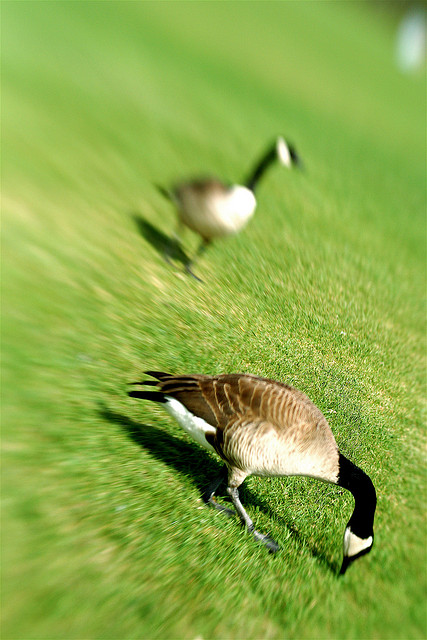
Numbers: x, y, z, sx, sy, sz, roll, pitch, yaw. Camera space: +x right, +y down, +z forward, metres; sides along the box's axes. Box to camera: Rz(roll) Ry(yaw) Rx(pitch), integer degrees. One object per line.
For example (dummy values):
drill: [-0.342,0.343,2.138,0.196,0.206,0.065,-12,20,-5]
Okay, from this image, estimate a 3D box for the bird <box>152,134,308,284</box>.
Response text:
bird: [0.027,-0.986,4.781,1.395,0.474,1.257,24,107,35]

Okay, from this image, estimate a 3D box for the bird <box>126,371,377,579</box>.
bird: [0.182,0.813,3.554,1.779,0.573,0.920,13,97,33]
